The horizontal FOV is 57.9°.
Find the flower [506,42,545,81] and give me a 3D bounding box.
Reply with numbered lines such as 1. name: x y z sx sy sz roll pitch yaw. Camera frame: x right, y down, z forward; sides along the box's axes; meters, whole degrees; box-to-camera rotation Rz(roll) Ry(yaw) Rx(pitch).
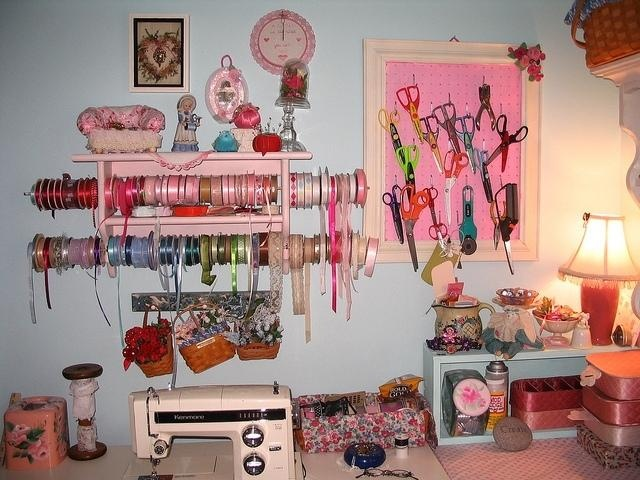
1. flower: 1.098 -0.932 3.040 0.214 0.198 0.040 -5 4 -14

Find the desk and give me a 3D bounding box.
1. desk: 1.017 0.766 3.014 0.951 0.468 0.334 -4 4 -6

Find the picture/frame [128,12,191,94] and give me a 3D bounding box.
1. picture/frame: -0.812 -0.959 2.906 0.349 0.482 0.034 0 2 -3

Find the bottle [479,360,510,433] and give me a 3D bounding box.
1. bottle: 0.889 0.785 2.907 0.104 0.348 0.156 -1 4 27

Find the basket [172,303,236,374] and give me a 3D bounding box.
1. basket: -0.581 0.473 2.867 0.220 0.321 0.189 -26 9 -4

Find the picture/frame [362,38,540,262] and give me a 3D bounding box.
1. picture/frame: 0.656 -0.508 3.035 1.019 1.297 0.098 -1 6 -5

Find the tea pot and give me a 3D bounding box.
1. tea pot: 0.727 0.403 2.922 0.301 0.229 0.188 2 -8 -10

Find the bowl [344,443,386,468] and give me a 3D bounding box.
1. bowl: 0.210 1.006 2.691 0.187 0.084 0.124 -4 4 4

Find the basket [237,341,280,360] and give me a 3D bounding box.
1. basket: -0.310 0.551 2.895 0.135 0.067 0.114 1 -6 -7

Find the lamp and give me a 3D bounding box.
1. lamp: 1.449 0.208 2.997 0.372 0.682 0.208 -1 4 33

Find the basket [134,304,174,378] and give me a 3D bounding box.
1. basket: -0.831 0.548 2.817 0.232 0.251 0.110 -5 4 -17

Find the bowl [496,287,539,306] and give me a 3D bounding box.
1. bowl: 1.024 0.304 3.063 0.193 0.082 0.195 -4 4 0
